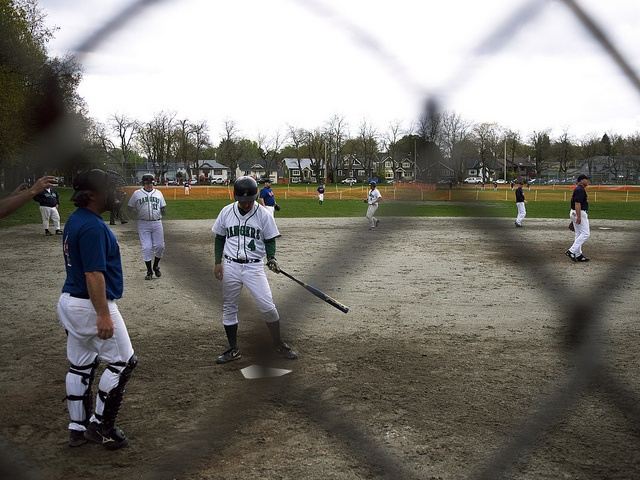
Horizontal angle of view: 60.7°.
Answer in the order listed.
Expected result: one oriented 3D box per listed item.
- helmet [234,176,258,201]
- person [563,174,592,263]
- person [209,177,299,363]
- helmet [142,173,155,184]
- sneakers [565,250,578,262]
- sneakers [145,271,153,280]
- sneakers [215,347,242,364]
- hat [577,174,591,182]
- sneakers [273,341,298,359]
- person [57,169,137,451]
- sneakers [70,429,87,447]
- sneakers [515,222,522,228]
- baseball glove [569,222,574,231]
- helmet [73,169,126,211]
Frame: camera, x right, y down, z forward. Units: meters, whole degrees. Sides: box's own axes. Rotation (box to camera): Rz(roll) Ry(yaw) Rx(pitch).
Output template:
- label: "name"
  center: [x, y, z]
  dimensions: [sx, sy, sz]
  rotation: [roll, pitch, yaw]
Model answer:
- label: "helmet"
  center: [-0.825, -0.550, 6.054]
  dimensions: [0.215, 0.149, 0.292]
  rotation: [0, 32, -10]
- label: "person"
  center: [5.794, -0.524, 12.134]
  dimensions: [0.444, 1.907, 1.436]
  rotation: [4, 13, 25]
- label: "person"
  center: [-0.797, 0.287, 6.332]
  dimensions: [0.842, 2.038, 0.798]
  rotation: [-3, 12, -10]
- label: "helmet"
  center: [-3.179, -1.151, 10.159]
  dimensions: [0.171, 0.172, 0.224]
  rotation: [-1, 3, -25]
- label: "sneakers"
  center: [5.421, 0.335, 11.821]
  dimensions: [0.157, 0.362, 0.119]
  rotation: [-39, 15, 17]
- label: "sneakers"
  center: [-3.153, 0.647, 10.071]
  dimensions: [0.135, 0.152, 0.360]
  rotation: [0, -4, -15]
- label: "sneakers"
  center: [-1.026, 1.289, 6.177]
  dimensions: [0.351, 0.136, 0.144]
  rotation: [-10, 14, -40]
- label: "hat"
  center: [5.621, -1.326, 11.609]
  dimensions: [0.221, 0.114, 0.149]
  rotation: [-16, 11, 10]
- label: "sneakers"
  center: [-0.388, 1.268, 6.297]
  dimensions: [0.314, 0.123, 0.111]
  rotation: [12, 14, 39]
- label: "person"
  center: [-1.909, 0.582, 4.608]
  dimensions: [0.589, 2.316, 0.582]
  rotation: [-6, 12, -20]
- label: "sneakers"
  center: [-2.067, 1.679, 4.670]
  dimensions: [0.200, 0.135, 0.070]
  rotation: [3, 8, -28]
- label: "sneakers"
  center: [6.738, -0.516, 18.574]
  dimensions: [0.262, 0.108, 0.084]
  rotation: [29, 11, -23]
- label: "baseball glove"
  center: [5.823, -0.347, 12.588]
  dimensions: [0.094, 0.263, 0.196]
  rotation: [2, -20, 27]
- label: "helmet"
  center: [-1.882, -0.443, 4.702]
  dimensions: [0.408, 0.331, 0.300]
  rotation: [-12, 16, -34]
